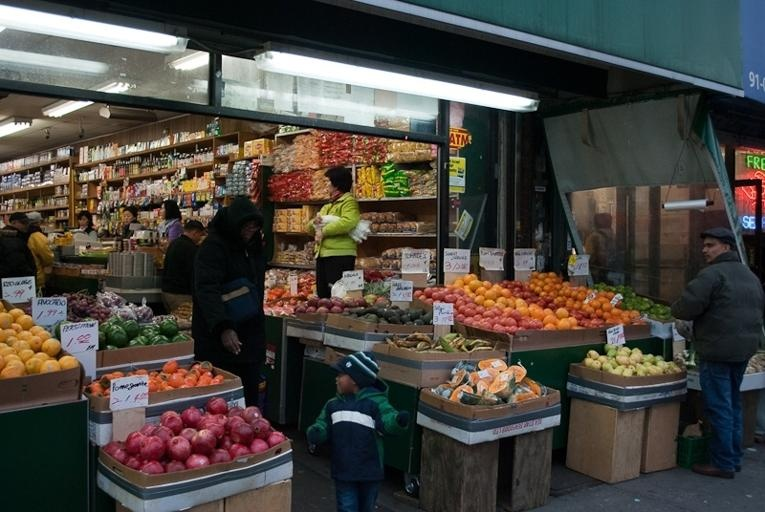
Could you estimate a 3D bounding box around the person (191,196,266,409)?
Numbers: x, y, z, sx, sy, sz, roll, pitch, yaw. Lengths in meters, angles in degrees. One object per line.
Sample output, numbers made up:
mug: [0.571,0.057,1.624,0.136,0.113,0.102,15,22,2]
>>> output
person: [-1.154,0.325,4.967,0.547,1.765,0.594,0,0,32]

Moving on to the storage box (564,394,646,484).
storage box: [1.994,1.579,5.542,0.636,0.674,0.577,1,-1,-31]

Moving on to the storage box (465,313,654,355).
storage box: [1.437,0.724,5.615,1.375,0.301,0.434,-5,7,-19]

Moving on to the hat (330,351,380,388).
hat: [-0.167,0.757,4.186,0.295,0.180,0.198,18,3,8]

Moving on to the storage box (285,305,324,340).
storage box: [-0.716,0.629,5.800,0.325,0.188,0.317,3,-1,27]

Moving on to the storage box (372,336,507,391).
storage box: [0.453,0.882,5.080,0.980,0.295,0.504,-4,11,-45]

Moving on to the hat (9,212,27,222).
hat: [-5.065,-0.528,8.618,0.198,0.107,0.137,-4,11,-35]

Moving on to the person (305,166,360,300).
person: [-0.506,-0.252,6.835,0.520,1.430,0.406,-3,6,-4]

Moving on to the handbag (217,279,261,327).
handbag: [-1.095,0.363,4.853,0.321,0.360,0.165,-6,7,-24]

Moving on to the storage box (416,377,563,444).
storage box: [0.791,1.206,4.722,1.119,0.366,0.499,1,9,-23]

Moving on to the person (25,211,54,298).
person: [-5.030,0.144,9.124,0.570,1.507,0.364,14,14,36]
